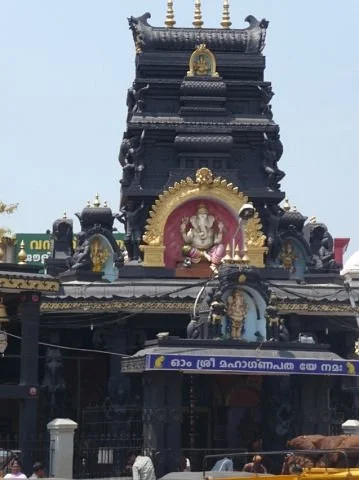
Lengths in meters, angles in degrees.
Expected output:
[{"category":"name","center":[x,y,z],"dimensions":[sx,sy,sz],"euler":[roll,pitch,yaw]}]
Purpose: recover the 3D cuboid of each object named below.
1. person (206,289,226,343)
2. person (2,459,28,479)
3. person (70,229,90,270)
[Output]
[{"category":"person","center":[1.090,2.395,66.532],"dimensions":[0.516,1.644,0.225],"euler":[-3,-18,1]},{"category":"person","center":[-4.933,6.824,60.961],"dimensions":[0.785,0.690,0.401],"euler":[3,-35,-9]},{"category":"person","center":[-3.820,0.391,78.514],"dimensions":[0.709,1.386,1.027],"euler":[3,-29,-4]}]
